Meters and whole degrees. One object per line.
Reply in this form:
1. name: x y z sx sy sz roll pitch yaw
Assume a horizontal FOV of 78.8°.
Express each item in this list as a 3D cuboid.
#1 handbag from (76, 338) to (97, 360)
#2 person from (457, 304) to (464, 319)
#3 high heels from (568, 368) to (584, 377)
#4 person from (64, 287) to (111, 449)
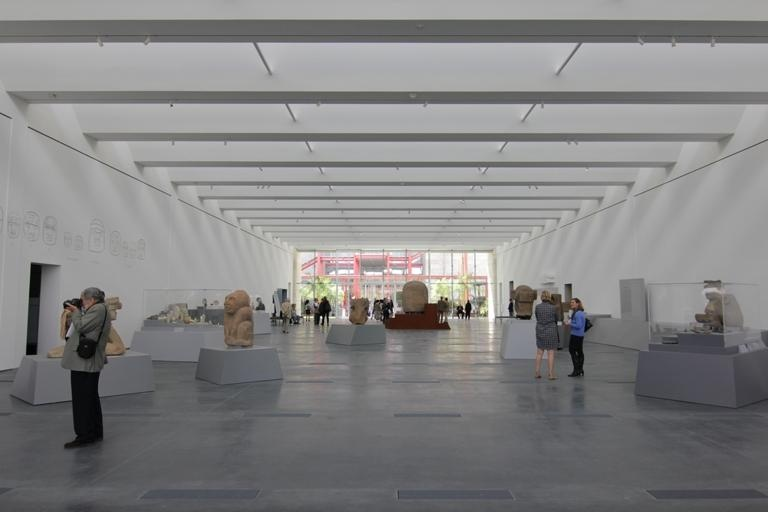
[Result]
1. handbag: -4.335 1.366 6.810 0.336 0.347 0.197 4 -8 -23
2. person: 7.040 5.216 43.130 0.577 1.183 1.636 0 -4 7
3. high heels: 5.062 3.073 12.173 0.560 0.214 0.175 3 -8 -1
4. person: -4.422 1.650 6.947 0.587 2.315 0.458 3 -4 -31
